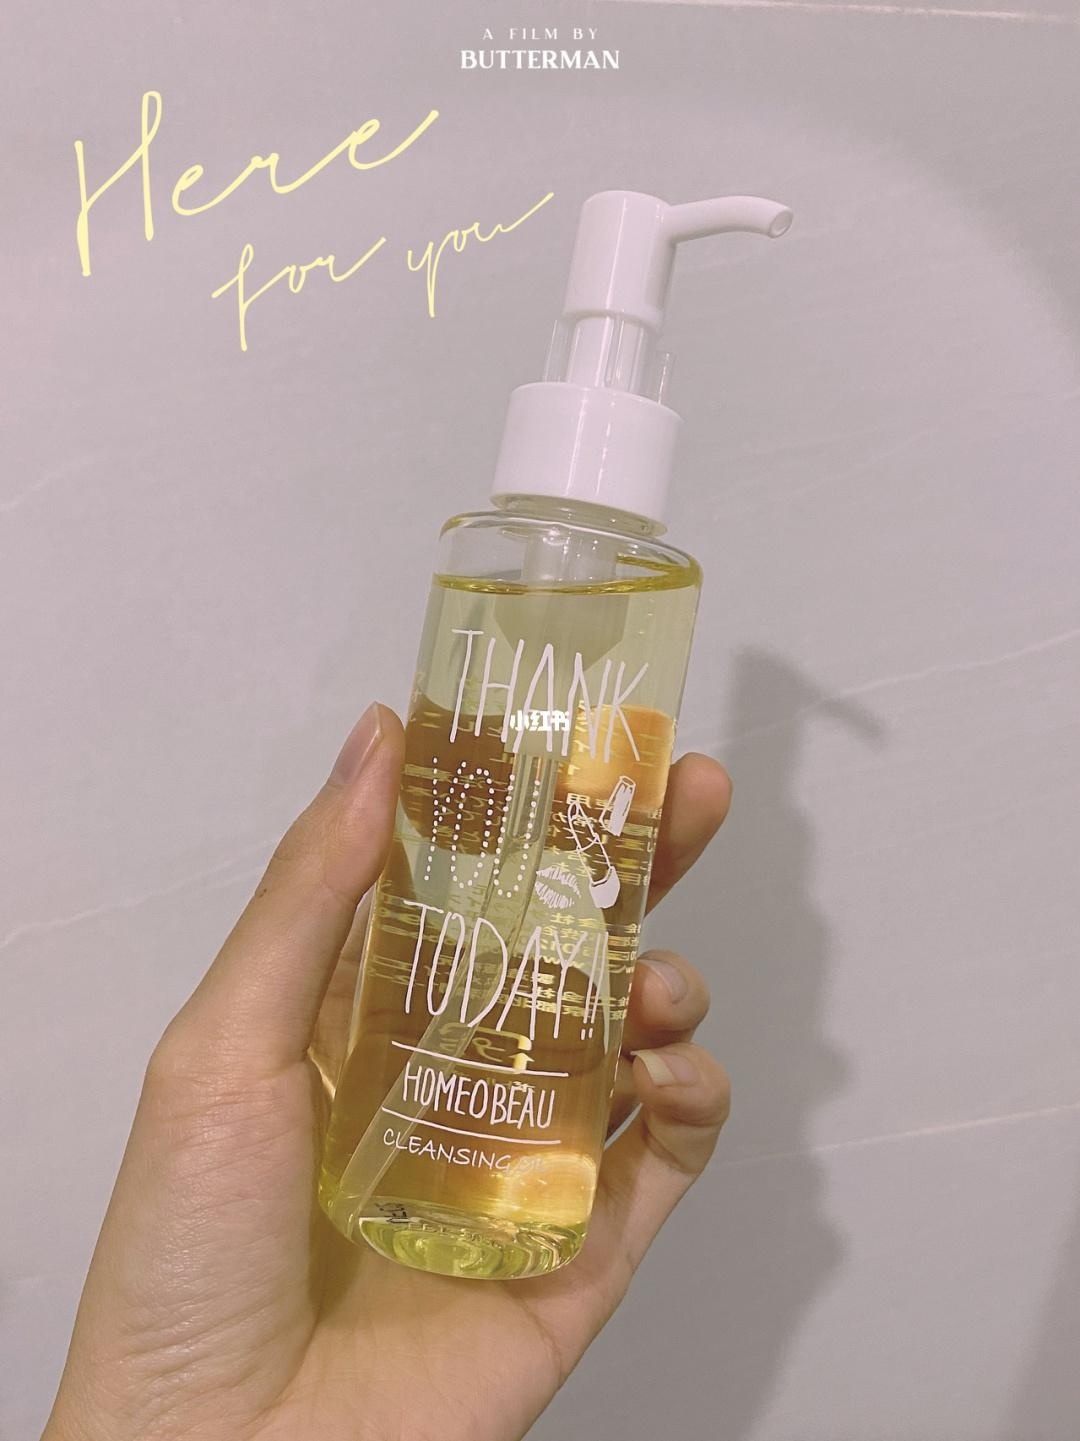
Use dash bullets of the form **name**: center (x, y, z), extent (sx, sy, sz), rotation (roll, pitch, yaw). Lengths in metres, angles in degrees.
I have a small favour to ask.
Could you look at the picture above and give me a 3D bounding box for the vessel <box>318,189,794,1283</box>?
- **vessel**: center (0.002, 0.010, 0.669), extent (0.137, 0.470, 0.219), rotation (9, 25, 6)
